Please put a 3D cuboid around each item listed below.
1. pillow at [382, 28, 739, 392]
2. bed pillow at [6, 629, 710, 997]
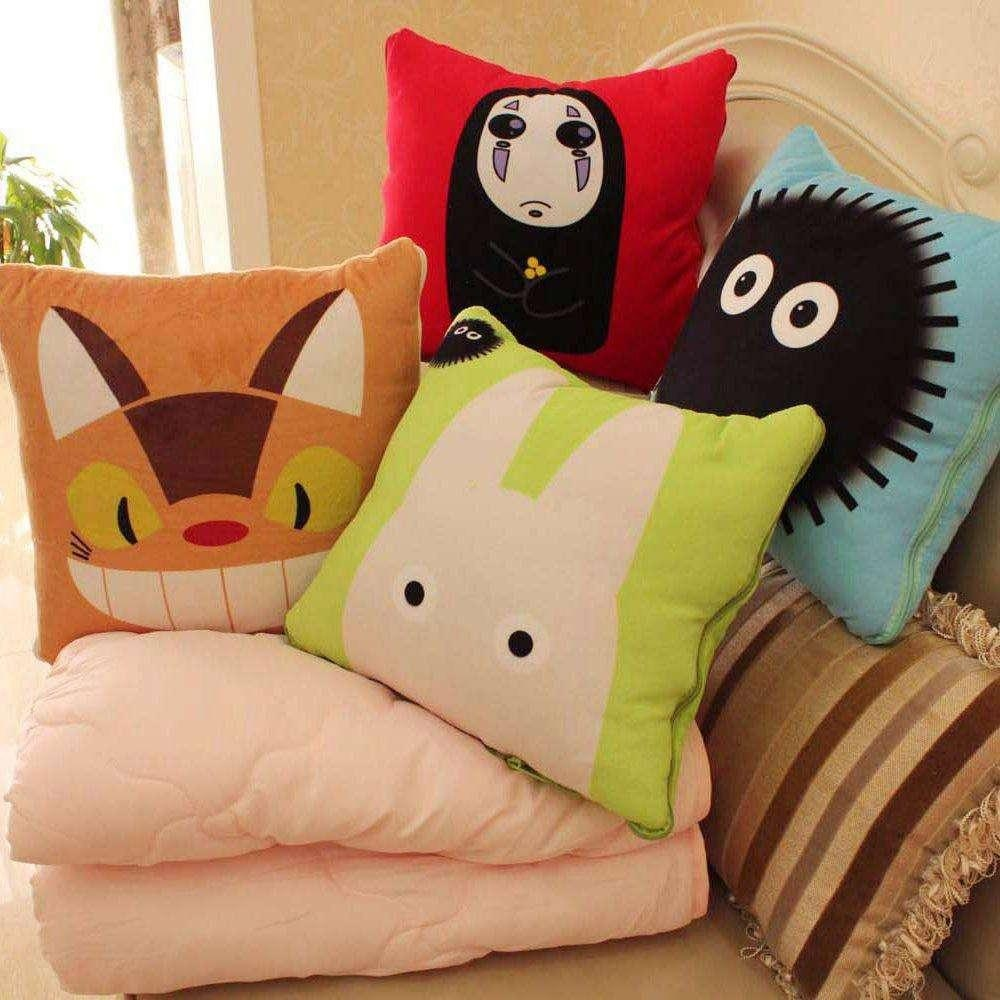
[{"bbox_3d":[0.075,-0.339,1.395,0.397,0.477,0.174,9,6,14],"label":"pillow"},{"bbox_3d":[-0.156,0.302,1.052,0.441,0.200,0.365,0,25,-6],"label":"bed pillow"}]
